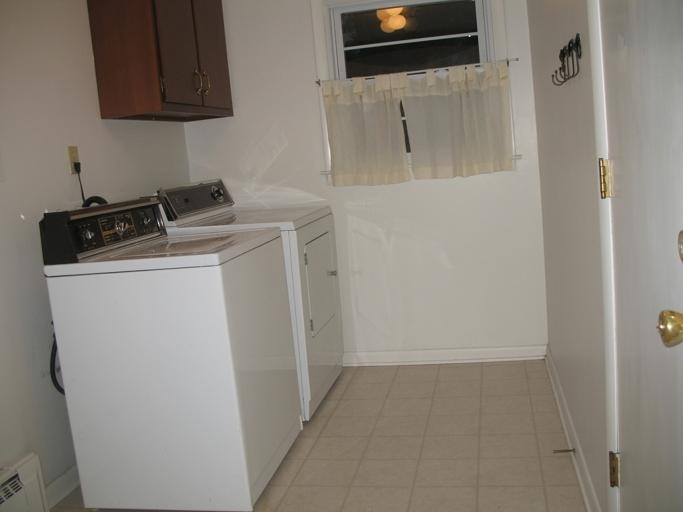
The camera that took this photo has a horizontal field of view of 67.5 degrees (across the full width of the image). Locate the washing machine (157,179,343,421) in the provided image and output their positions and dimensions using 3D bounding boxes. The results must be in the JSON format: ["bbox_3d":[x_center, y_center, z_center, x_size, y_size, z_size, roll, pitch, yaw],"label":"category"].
[{"bbox_3d":[-0.538,0.285,3.463,0.873,1.610,1.152,-4,8,5],"label":"washing machine"}]

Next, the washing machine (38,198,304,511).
[{"bbox_3d":[-0.819,0.423,2.541,0.952,1.398,0.762,-2,12,14],"label":"washing machine"}]
